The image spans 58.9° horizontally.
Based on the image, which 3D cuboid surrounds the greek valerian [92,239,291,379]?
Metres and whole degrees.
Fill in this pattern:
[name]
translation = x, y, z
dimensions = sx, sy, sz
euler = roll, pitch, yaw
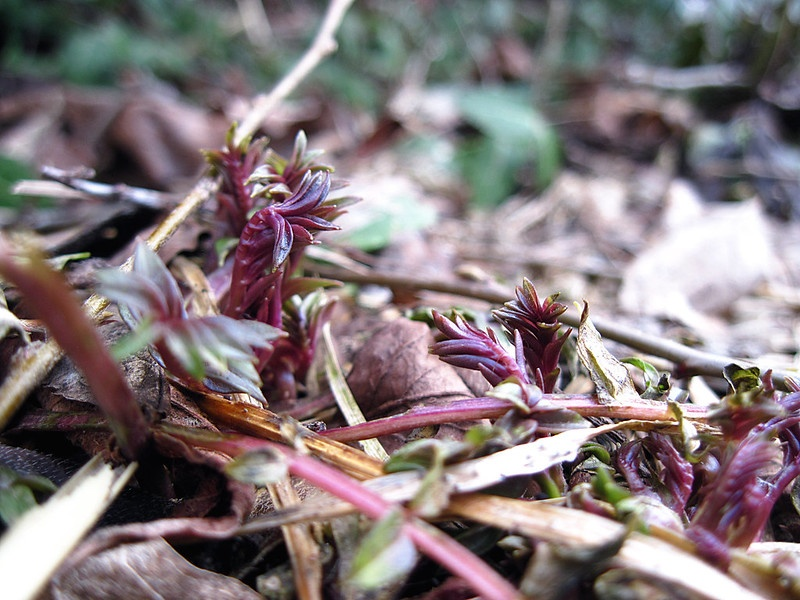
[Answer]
[greek valerian]
translation = -0.228, 0.039, 0.806
dimensions = 0.180, 0.188, 0.068
euler = 40, 106, 37
